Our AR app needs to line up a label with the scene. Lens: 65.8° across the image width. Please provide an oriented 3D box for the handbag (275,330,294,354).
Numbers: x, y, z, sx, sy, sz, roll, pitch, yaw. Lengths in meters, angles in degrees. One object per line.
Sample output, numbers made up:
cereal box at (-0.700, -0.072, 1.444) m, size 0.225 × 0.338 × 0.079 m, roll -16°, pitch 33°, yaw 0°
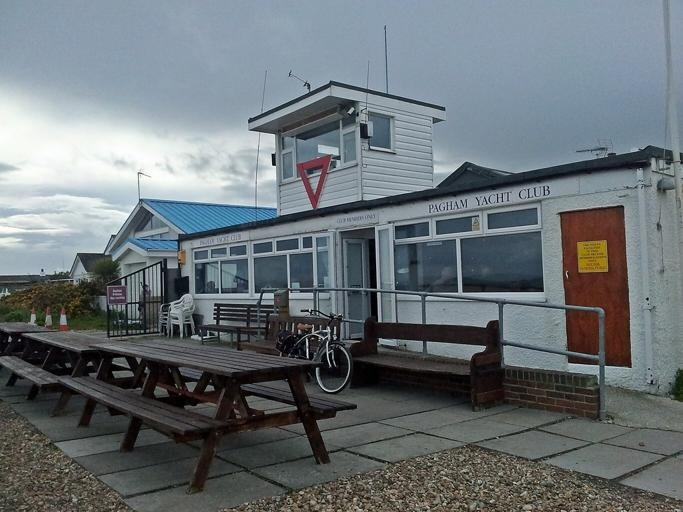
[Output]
handbag at (-1.021, 1.537, 9.635) m, size 0.354 × 0.386 × 0.409 m, roll 0°, pitch 6°, yaw -25°

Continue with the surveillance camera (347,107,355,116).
surveillance camera at (0.249, -3.863, 14.176) m, size 0.146 × 0.132 × 0.233 m, roll 27°, pitch -38°, yaw -24°
